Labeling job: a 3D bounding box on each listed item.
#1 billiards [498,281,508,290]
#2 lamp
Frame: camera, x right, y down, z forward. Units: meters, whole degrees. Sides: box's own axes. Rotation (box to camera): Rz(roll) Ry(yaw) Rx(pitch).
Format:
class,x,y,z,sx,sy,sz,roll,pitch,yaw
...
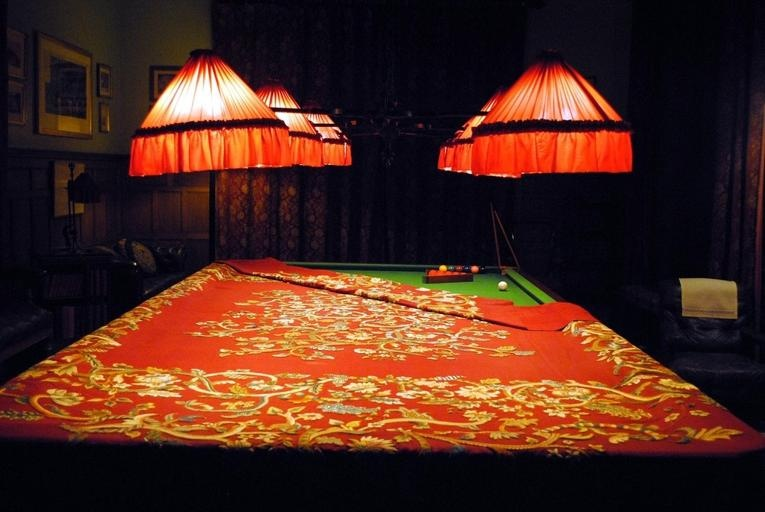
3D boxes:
class,x,y,z,sx,sy,sz,roll,pitch,yaw
billiards,0.787,0.191,4.121,0.058,0.056,0.056,-23,6,-39
lamp,0.015,-0.559,2.698,1.123,0.254,1.097,0,4,-3
